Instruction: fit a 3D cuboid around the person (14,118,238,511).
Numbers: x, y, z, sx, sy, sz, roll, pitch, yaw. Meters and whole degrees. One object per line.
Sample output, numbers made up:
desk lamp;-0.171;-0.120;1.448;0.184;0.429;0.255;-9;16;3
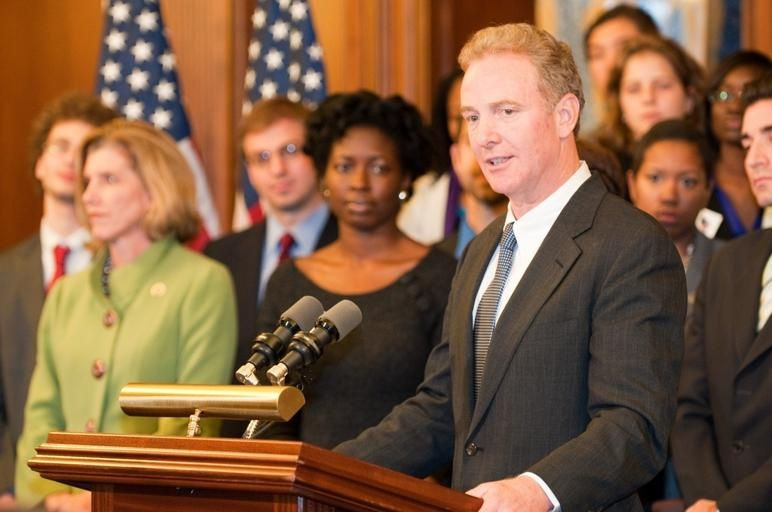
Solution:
person;-1.232;0.234;4.367;1.045;1.814;0.572;-2;2;-11

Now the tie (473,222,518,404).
tie;0.407;0.152;3.516;0.042;0.817;0.115;23;-30;-7
